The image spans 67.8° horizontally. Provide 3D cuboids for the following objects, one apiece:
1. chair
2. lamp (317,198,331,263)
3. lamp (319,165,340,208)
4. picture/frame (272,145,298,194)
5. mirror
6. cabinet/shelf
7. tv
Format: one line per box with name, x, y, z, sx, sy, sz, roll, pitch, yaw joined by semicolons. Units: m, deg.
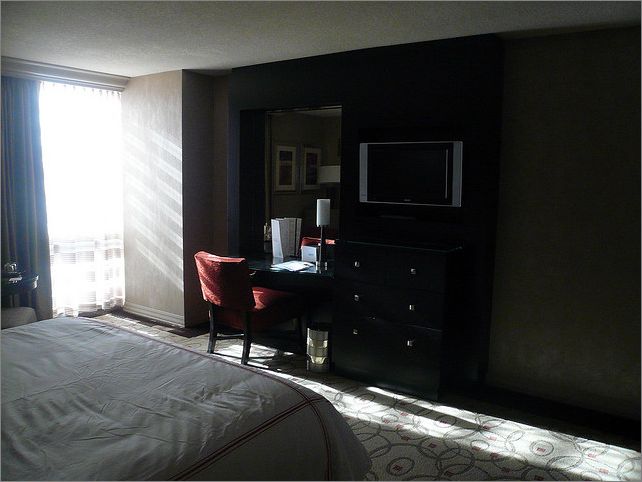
chair;-0.648;0.528;4.339;0.588;0.909;0.844;6;9;33
lamp;0.025;-0.089;4.269;0.116;0.570;0.254;1;13;3
lamp;0.085;-0.498;4.294;0.073;0.375;0.262;-11;17;-41
picture/frame;-0.333;-0.697;4.565;0.274;0.461;0.024;7;11;32
mirror;-0.132;-0.717;4.428;1.136;1.246;0.065;4;6;40
cabinet/shelf;0.672;0.611;3.961;1.031;1.101;0.661;4;4;33
tv;0.728;-0.554;3.878;0.900;0.516;0.087;5;13;32
